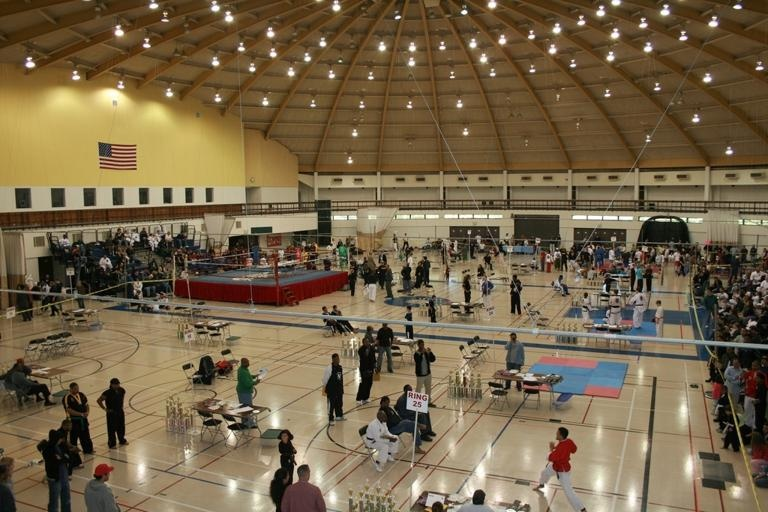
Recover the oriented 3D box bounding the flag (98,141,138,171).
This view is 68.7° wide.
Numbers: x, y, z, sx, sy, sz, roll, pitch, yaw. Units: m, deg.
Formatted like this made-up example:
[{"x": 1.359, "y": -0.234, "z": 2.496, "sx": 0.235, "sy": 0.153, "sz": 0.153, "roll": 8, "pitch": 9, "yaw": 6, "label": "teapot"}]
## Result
[{"x": -18.528, "y": -6.893, "z": 38.473, "sx": 0.126, "sy": 1.585, "sz": 2.462, "roll": 3, "pitch": 4, "yaw": 33, "label": "flag"}]
